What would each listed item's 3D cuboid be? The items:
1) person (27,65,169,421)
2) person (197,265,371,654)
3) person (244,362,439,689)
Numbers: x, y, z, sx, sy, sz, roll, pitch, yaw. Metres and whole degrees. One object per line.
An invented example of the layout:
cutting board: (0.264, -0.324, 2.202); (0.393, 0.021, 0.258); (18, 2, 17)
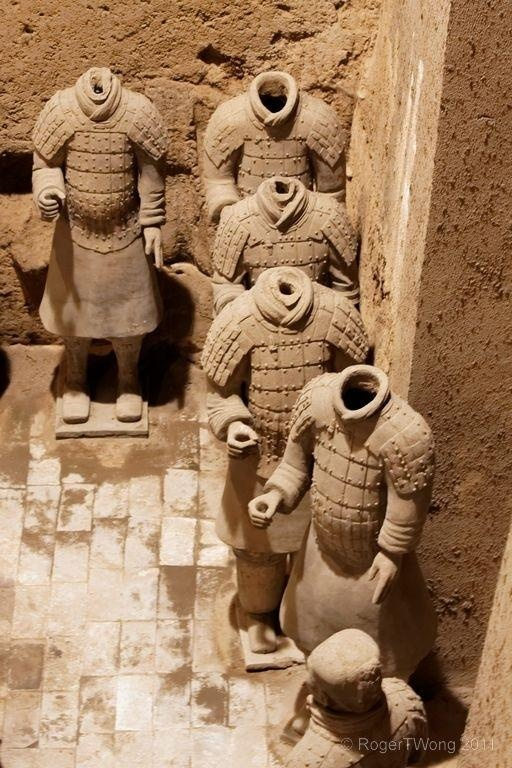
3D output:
person: (-0.699, -0.558, 5.385); (0.581, 1.681, 0.407); (0, 40, -10)
person: (0.110, 0.313, 4.290); (0.605, 1.373, 0.492); (-2, 21, -5)
person: (0.315, 0.468, 3.756); (0.527, 1.043, 0.501); (23, 38, 34)
